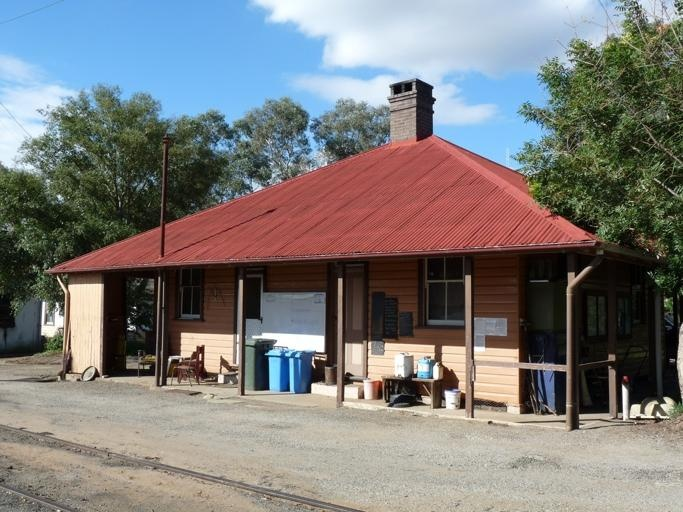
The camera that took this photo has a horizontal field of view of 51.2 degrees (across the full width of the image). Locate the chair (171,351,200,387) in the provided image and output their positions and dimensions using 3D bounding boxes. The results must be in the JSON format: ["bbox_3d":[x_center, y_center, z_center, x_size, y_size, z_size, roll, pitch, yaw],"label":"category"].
[{"bbox_3d":[-4.175,2.970,19.231,0.592,0.861,1.348,-1,1,-11],"label":"chair"}]

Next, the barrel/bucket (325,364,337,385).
[{"bbox_3d":[-0.305,2.899,17.341,0.169,0.441,0.419,-2,2,-42],"label":"barrel/bucket"}]

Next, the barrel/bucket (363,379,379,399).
[{"bbox_3d":[0.687,3.093,16.448,0.389,0.355,0.403,0,-9,0],"label":"barrel/bucket"}]

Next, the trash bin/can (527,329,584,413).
[{"bbox_3d":[4.557,2.467,15.290,0.963,1.695,0.720,-2,3,-40],"label":"trash bin/can"}]

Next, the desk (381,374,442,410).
[{"bbox_3d":[1.596,3.054,15.992,1.333,0.611,0.451,-4,-4,42],"label":"desk"}]

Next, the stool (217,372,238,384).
[{"bbox_3d":[-3.063,3.254,18.964,0.323,0.208,0.332,0,-7,2],"label":"stool"}]

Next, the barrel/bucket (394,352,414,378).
[{"bbox_3d":[1.408,2.461,16.101,0.415,0.517,0.373,0,2,4],"label":"barrel/bucket"}]

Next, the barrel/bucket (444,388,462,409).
[{"bbox_3d":[2.381,3.090,15.370,0.358,0.353,0.364,0,-10,0],"label":"barrel/bucket"}]

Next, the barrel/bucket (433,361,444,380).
[{"bbox_3d":[2.112,2.545,15.756,0.159,0.375,0.484,0,2,25],"label":"barrel/bucket"}]

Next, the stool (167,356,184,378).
[{"bbox_3d":[-4.742,3.036,19.771,0.618,0.724,0.615,1,-6,-5],"label":"stool"}]
